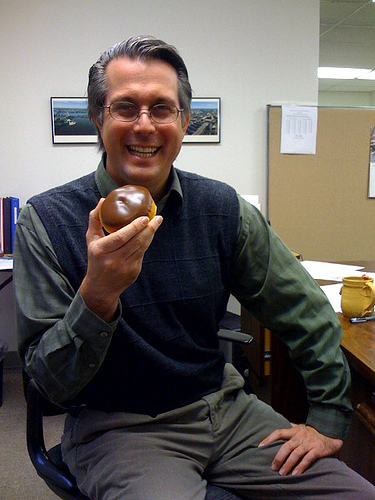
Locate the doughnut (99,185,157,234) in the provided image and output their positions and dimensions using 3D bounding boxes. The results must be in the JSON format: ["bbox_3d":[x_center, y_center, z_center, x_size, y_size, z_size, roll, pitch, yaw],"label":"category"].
[{"bbox_3d":[-0.104,-0.071,0.715,0.073,0.068,0.114,1,13,8],"label":"doughnut"}]

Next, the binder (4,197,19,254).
[{"bbox_3d":[-0.916,-0.131,2.169,0.073,0.359,0.283,1,8,-20],"label":"binder"}]

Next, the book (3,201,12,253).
[{"bbox_3d":[-1.054,-0.146,2.459,0.037,0.306,0.268,0,8,-19],"label":"book"}]

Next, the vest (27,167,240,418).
[{"bbox_3d":[-0.082,0.095,0.982,0.497,0.528,0.282,-5,13,-21],"label":"vest"}]
